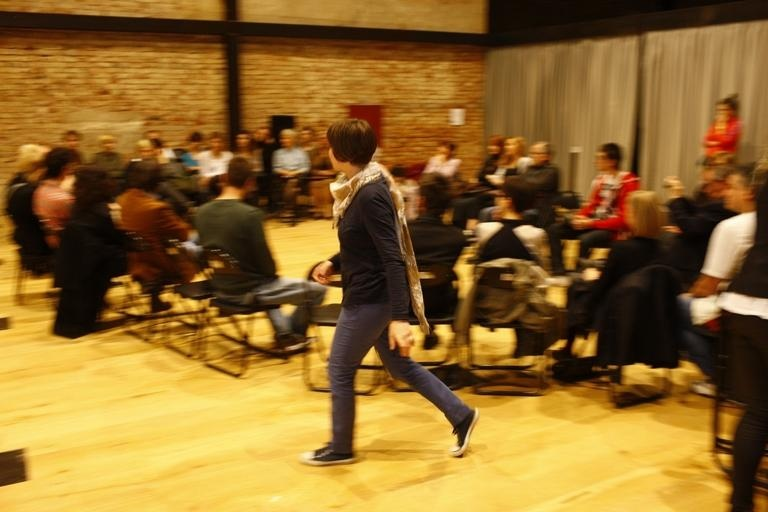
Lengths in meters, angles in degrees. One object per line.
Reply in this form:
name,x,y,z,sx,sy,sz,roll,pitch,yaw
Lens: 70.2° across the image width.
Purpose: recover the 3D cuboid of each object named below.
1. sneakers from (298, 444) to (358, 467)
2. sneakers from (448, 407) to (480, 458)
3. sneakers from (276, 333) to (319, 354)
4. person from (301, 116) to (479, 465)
sneakers,-0.329,1.206,3.326,0.367,0.101,0.122,3,-6,0
sneakers,0.489,1.079,3.386,0.173,0.330,0.133,18,27,-1
sneakers,-0.861,0.786,4.945,0.491,0.147,0.149,-7,3,1
person,-0.019,0.272,3.085,0.894,2.056,0.516,3,15,15
